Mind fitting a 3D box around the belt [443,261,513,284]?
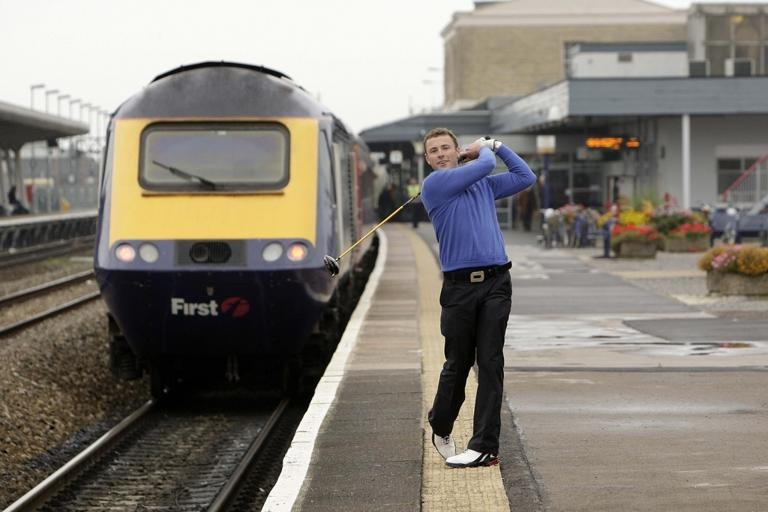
[{"bbox_3d":[0.836,0.146,8.374,0.599,0.173,0.175,0,10,5],"label":"belt"}]
